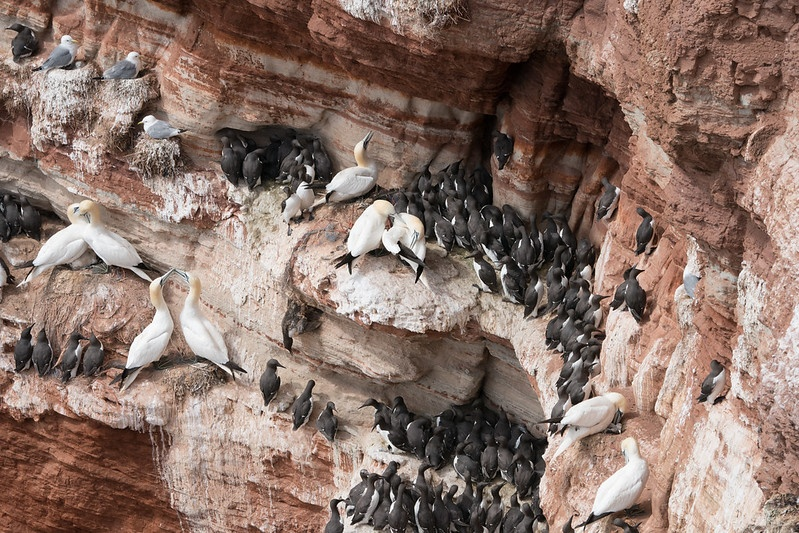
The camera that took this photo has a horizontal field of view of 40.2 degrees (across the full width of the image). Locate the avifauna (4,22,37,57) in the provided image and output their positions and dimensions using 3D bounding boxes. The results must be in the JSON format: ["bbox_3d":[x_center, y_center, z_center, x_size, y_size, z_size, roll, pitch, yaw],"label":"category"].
[{"bbox_3d":[-7.090,-4.191,20.606,0.607,0.633,0.297,23,-13,-23],"label":"avifauna"}]

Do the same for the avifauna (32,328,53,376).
[{"bbox_3d":[-6.506,1.606,20.147,0.295,0.939,0.526,-1,-5,6],"label":"avifauna"}]

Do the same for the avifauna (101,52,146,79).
[{"bbox_3d":[-4.984,-3.625,19.882,0.680,0.565,0.421,9,32,-31],"label":"avifauna"}]
